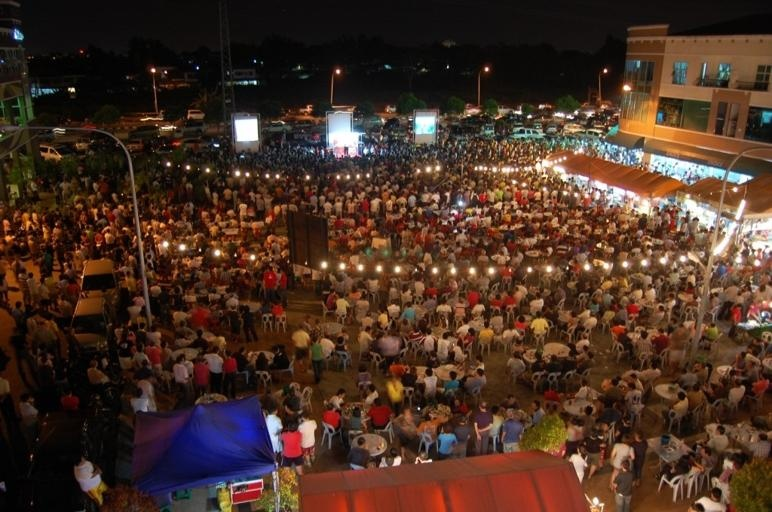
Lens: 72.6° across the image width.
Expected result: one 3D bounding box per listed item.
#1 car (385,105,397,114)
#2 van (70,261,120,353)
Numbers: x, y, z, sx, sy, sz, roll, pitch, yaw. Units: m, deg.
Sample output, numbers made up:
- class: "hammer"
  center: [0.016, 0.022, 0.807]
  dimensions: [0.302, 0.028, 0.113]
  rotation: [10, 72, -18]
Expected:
- class: "car"
  center: [0.955, -24.942, 89.621]
  dimensions: [2.116, 1.616, 3.349]
  rotation: [-2, 19, -8]
- class: "van"
  center: [-11.233, 2.071, 20.368]
  dimensions: [1.275, 1.214, 3.394]
  rotation: [-3, 51, -16]
